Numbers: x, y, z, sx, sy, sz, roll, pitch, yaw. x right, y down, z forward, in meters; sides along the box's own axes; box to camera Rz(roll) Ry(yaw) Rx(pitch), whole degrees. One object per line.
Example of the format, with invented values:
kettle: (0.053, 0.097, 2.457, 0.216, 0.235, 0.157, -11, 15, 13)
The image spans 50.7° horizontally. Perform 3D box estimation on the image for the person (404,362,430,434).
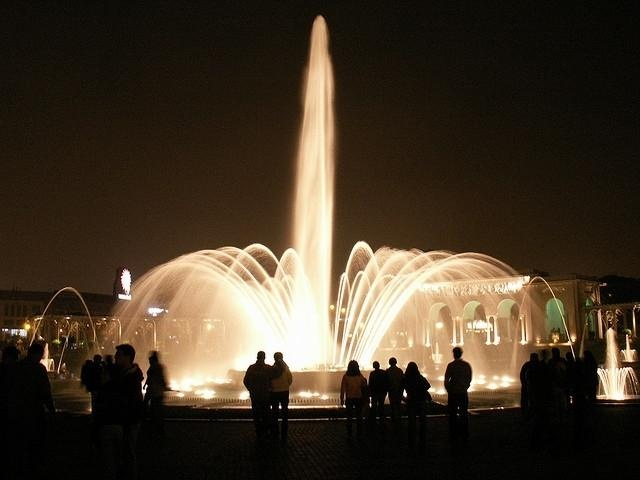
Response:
person: (1.975, 3.225, 13.751, 0.532, 1.453, 0.512, 0, -15, 0)

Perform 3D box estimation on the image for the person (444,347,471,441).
person: (2.914, 3.217, 14.243, 0.566, 2.011, 1.317, -3, -15, 11)

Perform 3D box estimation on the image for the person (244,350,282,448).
person: (-1.286, 3.428, 14.799, 0.593, 1.874, 0.837, -9, -18, 31)
